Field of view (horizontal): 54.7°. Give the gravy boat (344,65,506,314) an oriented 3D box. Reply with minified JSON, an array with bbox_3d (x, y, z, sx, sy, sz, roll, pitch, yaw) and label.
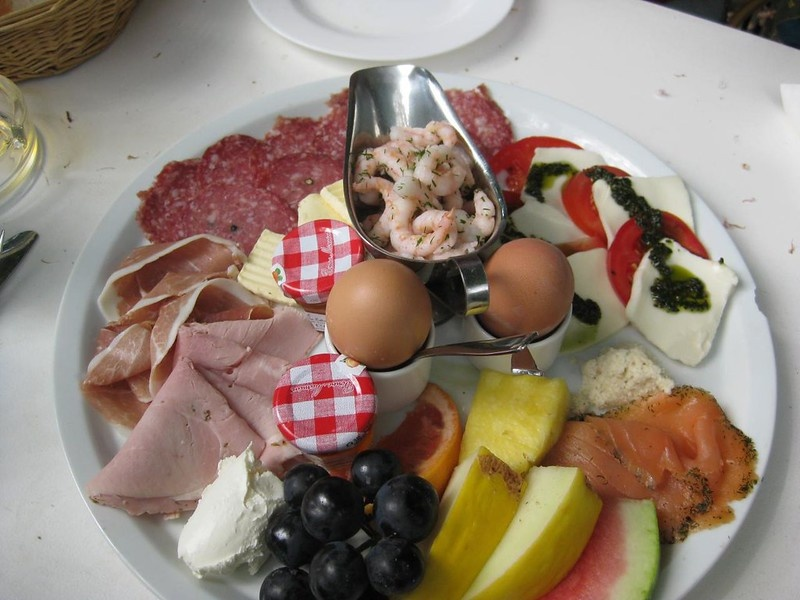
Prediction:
[{"bbox_3d":[0.070,-0.284,2.415,0.371,0.297,0.918,-11,63,-7],"label":"gravy boat"}]

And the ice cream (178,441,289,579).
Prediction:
[{"bbox_3d":[-0.429,0.577,2.017,0.221,0.153,0.315,29,65,6],"label":"ice cream"}]
